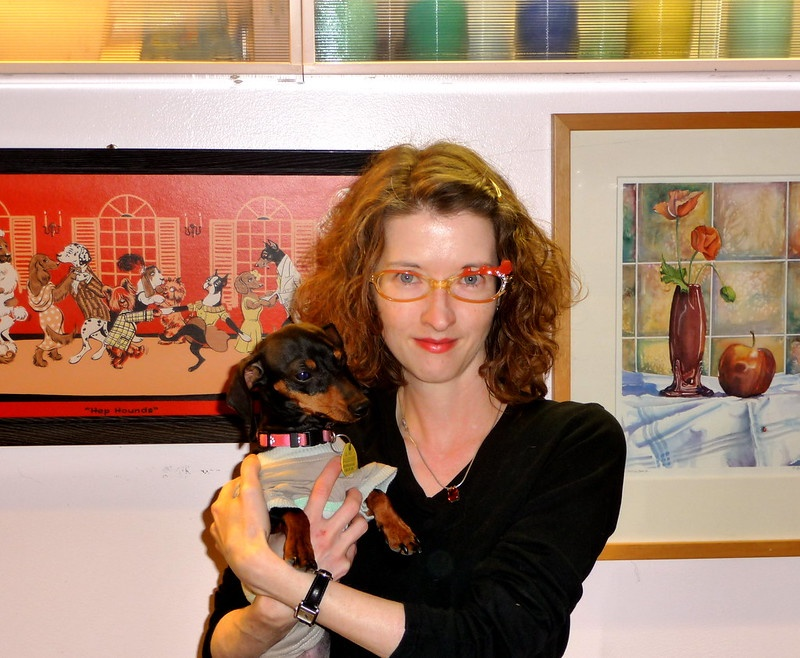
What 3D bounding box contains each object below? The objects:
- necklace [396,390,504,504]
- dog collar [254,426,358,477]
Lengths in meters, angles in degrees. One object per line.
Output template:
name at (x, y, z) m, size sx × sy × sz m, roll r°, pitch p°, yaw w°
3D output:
necklace at (0.115, 0.381, 2.293) m, size 0.329 × 0.264 × 0.076 m, roll 2°, pitch -6°, yaw 26°
dog collar at (-0.286, 0.378, 2.414) m, size 0.227 × 0.111 × 0.160 m, roll -5°, pitch 7°, yaw -1°
